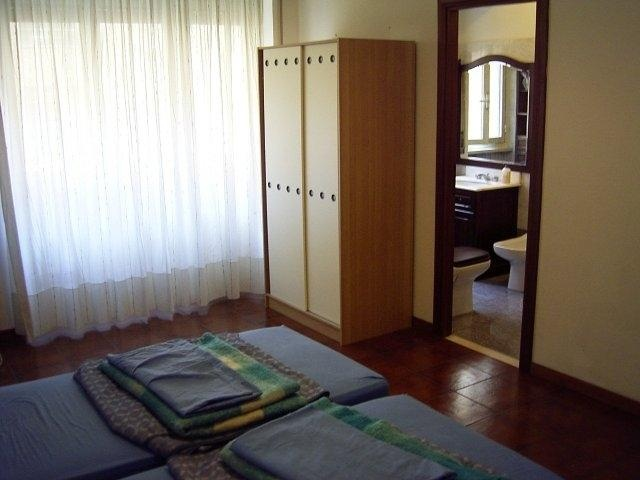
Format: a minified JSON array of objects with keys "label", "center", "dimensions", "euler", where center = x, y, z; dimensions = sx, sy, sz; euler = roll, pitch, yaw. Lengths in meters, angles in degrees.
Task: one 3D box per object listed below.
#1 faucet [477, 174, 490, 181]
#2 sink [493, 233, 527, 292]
[{"label":"faucet","center":[1.816,-0.699,5.551],"dimensions":[0.163,0.076,0.073],"euler":[8,17,29]},{"label":"sink","center":[1.941,0.275,5.154],"dimensions":[0.311,0.526,0.564],"euler":[4,16,20]}]
